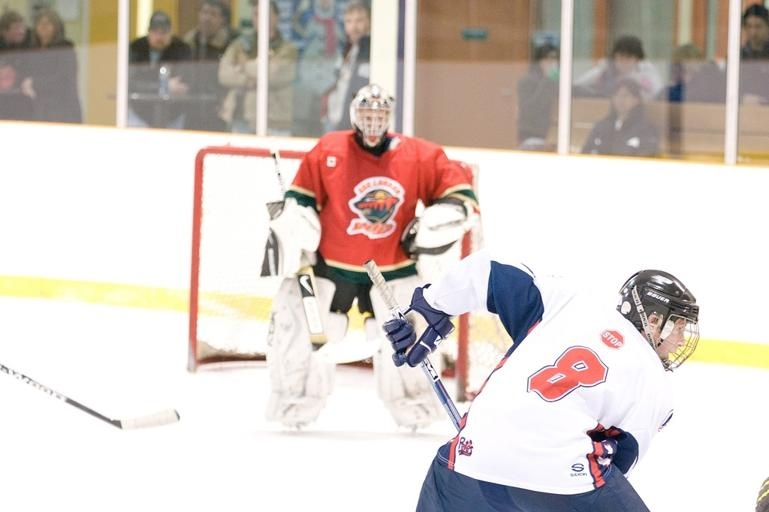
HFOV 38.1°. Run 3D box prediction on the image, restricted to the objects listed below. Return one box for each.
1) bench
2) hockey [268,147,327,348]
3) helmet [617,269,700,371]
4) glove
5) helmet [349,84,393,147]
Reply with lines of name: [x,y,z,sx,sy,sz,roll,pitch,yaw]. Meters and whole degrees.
bench: [1.687,-0.757,6.636,1.154,0.347,0.076,6,9,17]
hockey: [-0.430,0.020,5.784,0.257,0.823,0.291,-9,16,7]
helmet: [1.030,0.216,4.195,0.310,0.331,0.247,13,14,5]
glove: [0.140,0.315,4.474,0.133,0.317,0.313,28,18,-38]
helmet: [-0.067,-0.718,5.686,0.220,0.313,0.247,4,12,4]
